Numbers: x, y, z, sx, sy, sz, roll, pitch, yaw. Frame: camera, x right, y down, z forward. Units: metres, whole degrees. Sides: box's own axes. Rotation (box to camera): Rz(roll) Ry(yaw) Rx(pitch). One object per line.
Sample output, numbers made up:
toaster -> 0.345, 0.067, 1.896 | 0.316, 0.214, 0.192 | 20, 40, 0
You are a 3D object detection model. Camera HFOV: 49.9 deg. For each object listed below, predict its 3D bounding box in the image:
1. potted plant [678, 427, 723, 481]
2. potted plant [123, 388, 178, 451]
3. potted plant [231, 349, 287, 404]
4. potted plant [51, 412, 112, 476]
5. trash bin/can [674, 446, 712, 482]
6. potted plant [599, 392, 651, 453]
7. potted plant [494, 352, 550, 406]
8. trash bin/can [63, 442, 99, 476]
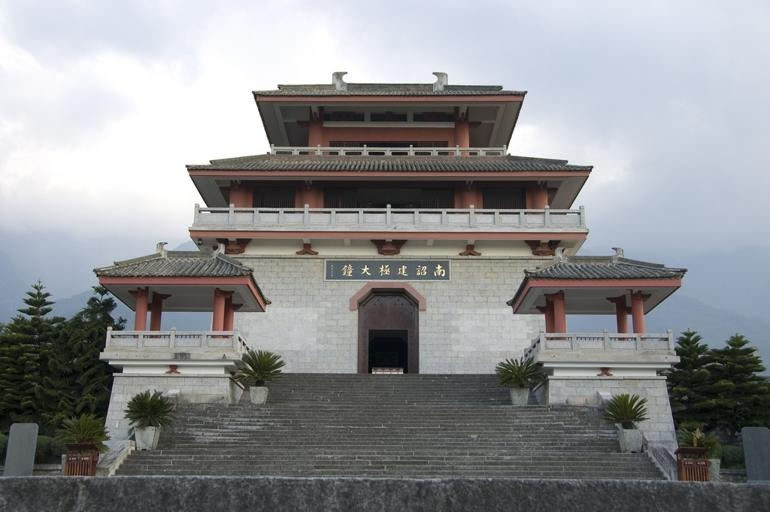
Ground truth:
potted plant -> 7.949, 5.016, 20.945 | 1.056, 1.193, 1.068 | 4, -7, -41
potted plant -> -6.709, 4.692, 23.271 | 1.490, 1.403, 1.372 | -9, -19, 7
potted plant -> -4.061, 3.918, 26.690 | 1.758, 1.525, 1.579 | 2, -26, -5
potted plant -> -8.119, 4.910, 21.786 | 1.622, 1.742, 1.489 | 4, -13, -32
trash bin/can -> 7.735, 5.128, 20.675 | 0.807, 0.812, 0.618 | 4, 12, 17
potted plant -> 6.914, 4.774, 23.739 | 1.343, 1.489, 1.205 | 0, -8, 21
potted plant -> 4.301, 3.972, 26.469 | 1.780, 1.470, 1.742 | 2, -12, -3
trash bin/can -> -7.785, 5.220, 20.959 | 0.630, 0.449, 0.605 | -5, -17, 26
